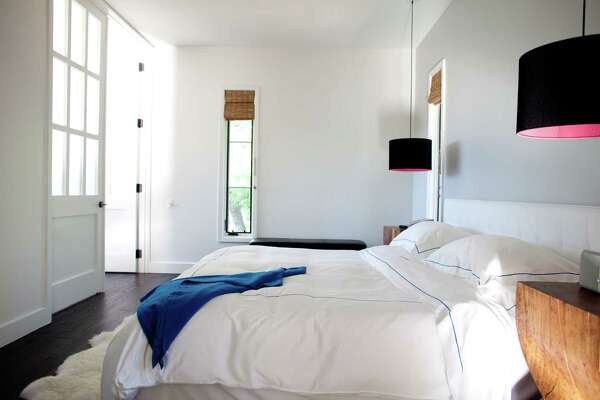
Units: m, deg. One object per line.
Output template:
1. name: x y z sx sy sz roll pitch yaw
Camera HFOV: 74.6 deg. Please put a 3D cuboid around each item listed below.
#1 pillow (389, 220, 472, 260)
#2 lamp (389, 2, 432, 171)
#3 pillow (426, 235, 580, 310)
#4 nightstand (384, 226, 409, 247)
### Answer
1. pillow: 1.244 0.355 3.914 0.424 0.135 0.463 -28 1 -3
2. lamp: 1.503 -1.392 5.126 0.487 2.109 1.610 5 14 16
3. pillow: 1.478 0.466 3.073 0.553 0.185 0.621 -5 10 -17
4. nightstand: 1.277 0.436 5.265 0.237 0.327 0.322 -1 5 -7
